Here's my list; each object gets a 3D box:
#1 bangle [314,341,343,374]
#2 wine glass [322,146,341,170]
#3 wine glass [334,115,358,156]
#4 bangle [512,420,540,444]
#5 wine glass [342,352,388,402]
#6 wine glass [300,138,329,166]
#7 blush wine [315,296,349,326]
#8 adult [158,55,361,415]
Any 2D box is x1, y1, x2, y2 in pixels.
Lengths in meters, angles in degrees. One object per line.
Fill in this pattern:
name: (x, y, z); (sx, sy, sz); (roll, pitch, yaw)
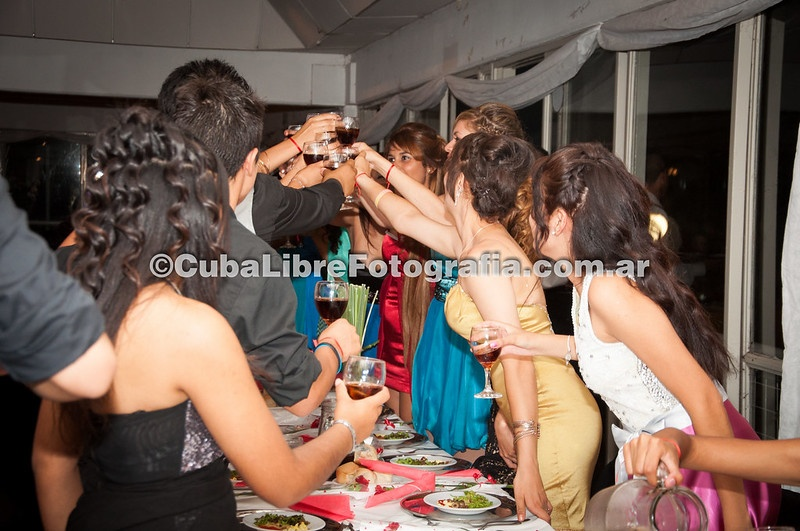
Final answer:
bangle: (-0.225, 0.287, 1.765); (0.020, 0.074, 0.074); (-35, -10, 19)
wine glass: (-0.320, -0.510, 2.663); (0.077, 0.084, 0.082); (-1, 6, -1)
wine glass: (-0.248, -0.621, 2.664); (0.107, 0.182, 0.110); (10, 28, 16)
bangle: (0.471, 0.620, 2.133); (0.079, 0.063, 0.084); (-1, -3, 13)
wine glass: (-0.092, 0.309, 1.575); (0.108, 0.128, 0.115); (3, -8, 6)
wine glass: (-0.394, -0.527, 2.630); (0.097, 0.114, 0.102); (0, 1, -6)
blush wine: (-0.270, 0.184, 2.235); (0.100, 0.174, 0.103); (2, -6, 1)
adult: (-0.395, 0.053, 2.027); (0.512, 1.338, 0.684); (11, 28, 34)
